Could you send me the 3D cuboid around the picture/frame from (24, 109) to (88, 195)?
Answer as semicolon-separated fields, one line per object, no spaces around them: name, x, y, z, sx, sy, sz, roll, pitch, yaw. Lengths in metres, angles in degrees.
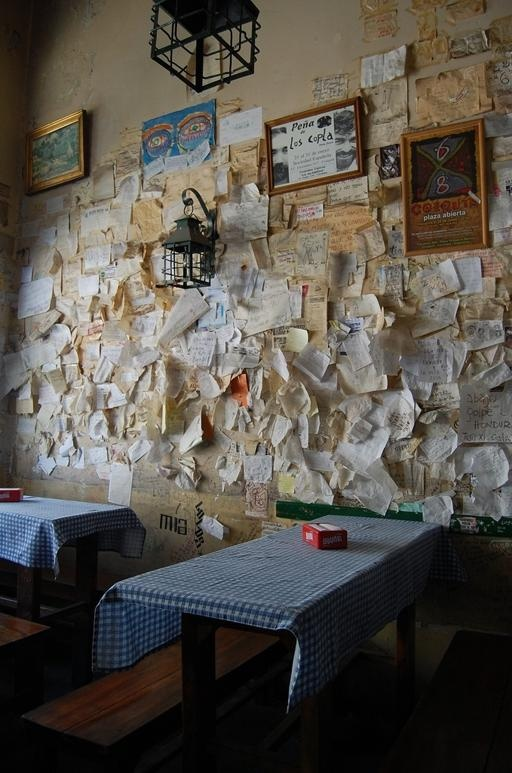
picture/frame;-1.304;-1.530;3.791;0.677;0.546;0.053;-2;-2;40

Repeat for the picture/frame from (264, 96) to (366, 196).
picture/frame;0.291;-1.113;2.686;0.546;0.405;0.041;-1;0;39

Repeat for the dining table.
dining table;0.163;0.651;1.637;0.590;0.422;1.120;-6;-3;36
